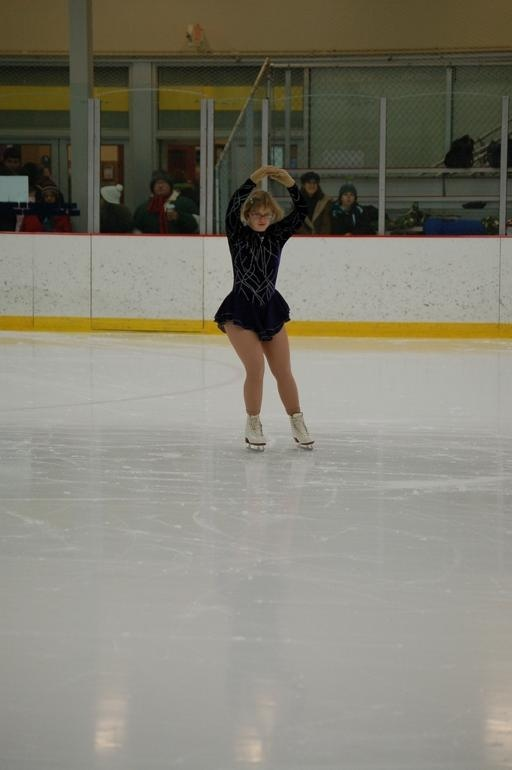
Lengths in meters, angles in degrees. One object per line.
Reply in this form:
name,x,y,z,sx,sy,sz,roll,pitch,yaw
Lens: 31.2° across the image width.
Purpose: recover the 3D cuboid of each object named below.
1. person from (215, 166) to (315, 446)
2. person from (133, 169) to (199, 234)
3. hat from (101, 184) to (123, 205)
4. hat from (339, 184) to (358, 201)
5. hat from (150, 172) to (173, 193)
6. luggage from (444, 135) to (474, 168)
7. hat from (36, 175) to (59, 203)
person,0.038,-0.287,3.407,0.367,1.019,0.348,1,7,3
person,-0.817,-1.651,8.537,0.601,0.729,0.478,4,31,7
hat,-1.301,-1.727,8.403,0.225,0.164,0.134,6,9,35
hat,0.819,-1.695,8.154,0.119,0.120,0.136,2,-13,-4
hat,-0.847,-1.783,8.192,0.150,0.166,0.186,-3,-10,-3
luggage,1.754,-2.036,7.990,0.218,0.270,0.146,3,41,8
hat,-1.914,-1.761,8.405,0.234,0.239,0.067,4,8,23
